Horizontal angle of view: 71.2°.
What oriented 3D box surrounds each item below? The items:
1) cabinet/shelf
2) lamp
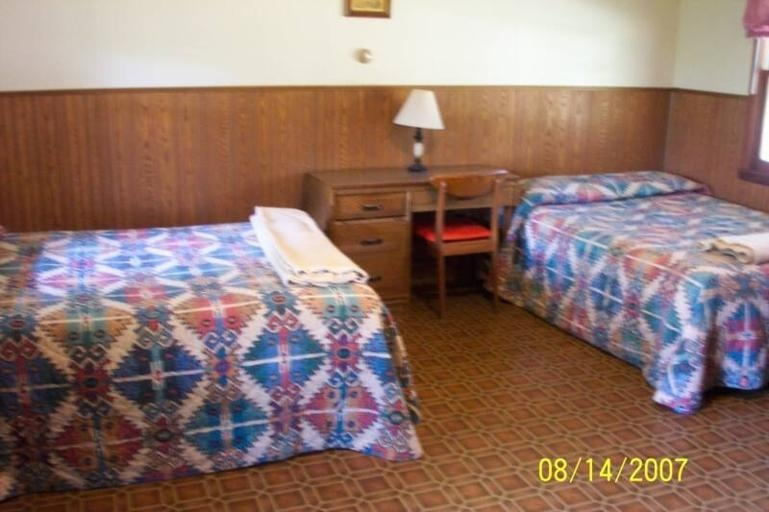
[{"bbox_3d":[0.250,-0.187,4.142,1.470,0.906,0.883,-4,13,-14],"label":"cabinet/shelf"},{"bbox_3d":[0.248,-0.980,4.147,0.371,0.596,0.330,0,21,1],"label":"lamp"}]
